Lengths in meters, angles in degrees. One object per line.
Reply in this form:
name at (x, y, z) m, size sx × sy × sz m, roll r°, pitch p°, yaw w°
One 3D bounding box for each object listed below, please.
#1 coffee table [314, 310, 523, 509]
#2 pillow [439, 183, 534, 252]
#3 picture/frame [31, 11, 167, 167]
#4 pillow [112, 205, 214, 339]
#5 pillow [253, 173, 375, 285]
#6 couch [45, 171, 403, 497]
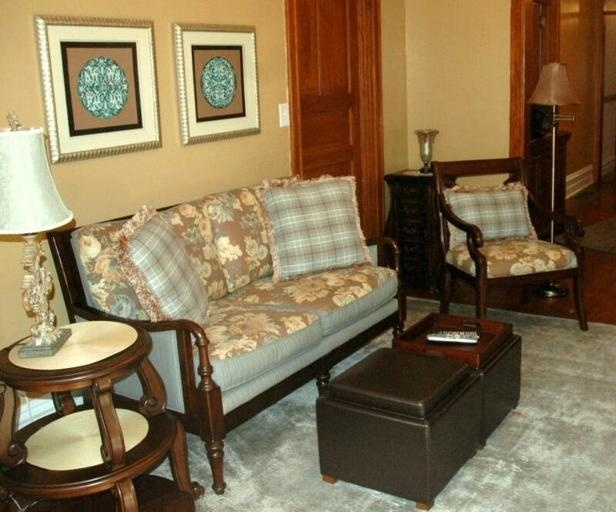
coffee table at (0.423, 0.335, 1.966) m, size 0.559 × 0.428 × 1.135 m, roll 5°, pitch 15°, yaw 34°
pillow at (1.242, -0.284, 3.669) m, size 0.633 × 0.393 × 0.199 m, roll -6°, pitch -10°, yaw -12°
picture/frame at (-0.941, -0.770, 2.452) m, size 0.077 × 0.617 × 0.649 m, roll 2°, pitch 17°, yaw 36°
pillow at (-0.582, 0.069, 2.112) m, size 0.267 × 0.511 × 0.377 m, roll -11°, pitch 14°, yaw -6°
pillow at (0.015, -0.150, 3.039) m, size 0.704 × 0.528 × 0.179 m, roll -6°, pitch -11°, yaw -31°
couch at (-0.251, 0.175, 2.742) m, size 0.881 × 0.887 × 1.727 m, roll 15°, pitch 20°, yaw 27°
